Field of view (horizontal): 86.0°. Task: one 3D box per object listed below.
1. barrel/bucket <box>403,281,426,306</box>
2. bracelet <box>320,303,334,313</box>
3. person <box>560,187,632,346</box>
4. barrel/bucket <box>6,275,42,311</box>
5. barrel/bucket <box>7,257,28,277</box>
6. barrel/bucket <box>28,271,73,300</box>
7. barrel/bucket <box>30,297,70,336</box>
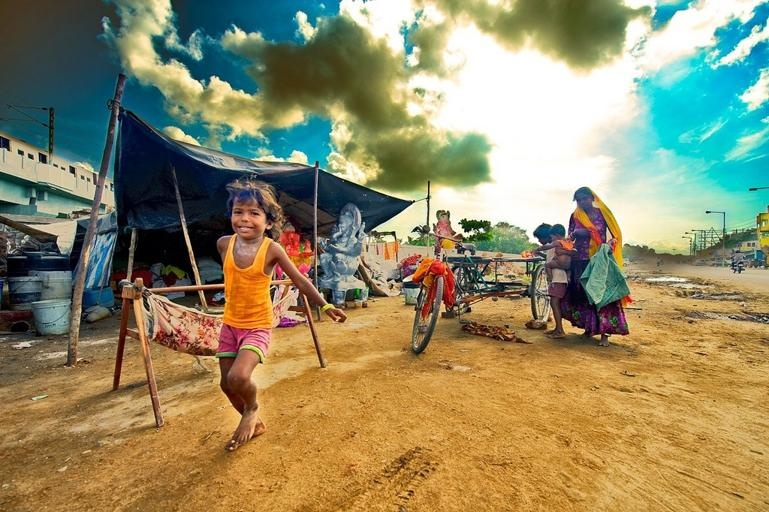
[{"bbox_3d":[0.675,0.979,11.161,0.698,0.474,0.671,0,-1,0],"label":"barrel/bucket"},{"bbox_3d":[-0.622,0.535,4.349,0.095,0.033,0.084,-14,1,43],"label":"bracelet"},{"bbox_3d":[3.492,0.135,6.891,0.942,2.617,0.588,-2,-3,29],"label":"person"},{"bbox_3d":[-7.633,0.788,8.997,0.852,0.747,0.747,2,-6,-19],"label":"barrel/bucket"},{"bbox_3d":[-7.742,0.180,8.669,0.425,0.444,0.224,-1,-3,11],"label":"barrel/bucket"},{"bbox_3d":[-7.225,0.604,8.982,0.711,0.602,0.683,0,-3,0],"label":"barrel/bucket"},{"bbox_3d":[-6.277,1.090,7.917,0.770,0.638,0.702,-1,-1,0],"label":"barrel/bucket"}]
